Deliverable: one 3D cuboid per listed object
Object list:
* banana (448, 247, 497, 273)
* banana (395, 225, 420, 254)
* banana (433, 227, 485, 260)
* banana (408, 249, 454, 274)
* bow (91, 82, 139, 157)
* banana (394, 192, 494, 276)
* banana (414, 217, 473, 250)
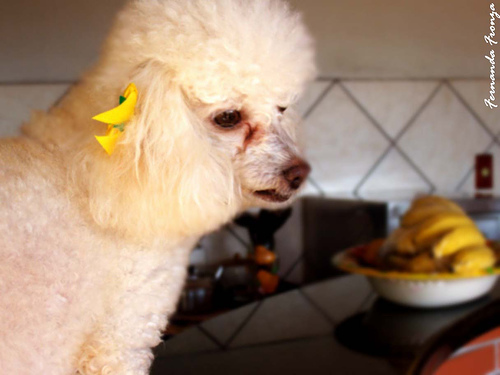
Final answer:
[{"bbox_3d":[0.391,0.129,1.018,0.089,0.029,0.036,-15,49,-9],"label":"banana"},{"bbox_3d":[0.296,0.102,1.082,0.022,0.066,0.048,10,92,37],"label":"banana"},{"bbox_3d":[0.366,0.098,1.025,0.091,0.029,0.048,-20,79,-16],"label":"banana"},{"bbox_3d":[0.317,0.137,1.022,0.067,0.020,0.048,17,51,19],"label":"banana"},{"bbox_3d":[-0.236,-0.110,0.993,0.077,0.039,0.113,-21,35,36],"label":"bow"},{"bbox_3d":[0.344,0.090,1.044,0.124,0.064,0.155,-28,56,3],"label":"banana"},{"bbox_3d":[0.349,0.078,1.044,0.088,0.022,0.055,-30,17,-9],"label":"banana"}]
